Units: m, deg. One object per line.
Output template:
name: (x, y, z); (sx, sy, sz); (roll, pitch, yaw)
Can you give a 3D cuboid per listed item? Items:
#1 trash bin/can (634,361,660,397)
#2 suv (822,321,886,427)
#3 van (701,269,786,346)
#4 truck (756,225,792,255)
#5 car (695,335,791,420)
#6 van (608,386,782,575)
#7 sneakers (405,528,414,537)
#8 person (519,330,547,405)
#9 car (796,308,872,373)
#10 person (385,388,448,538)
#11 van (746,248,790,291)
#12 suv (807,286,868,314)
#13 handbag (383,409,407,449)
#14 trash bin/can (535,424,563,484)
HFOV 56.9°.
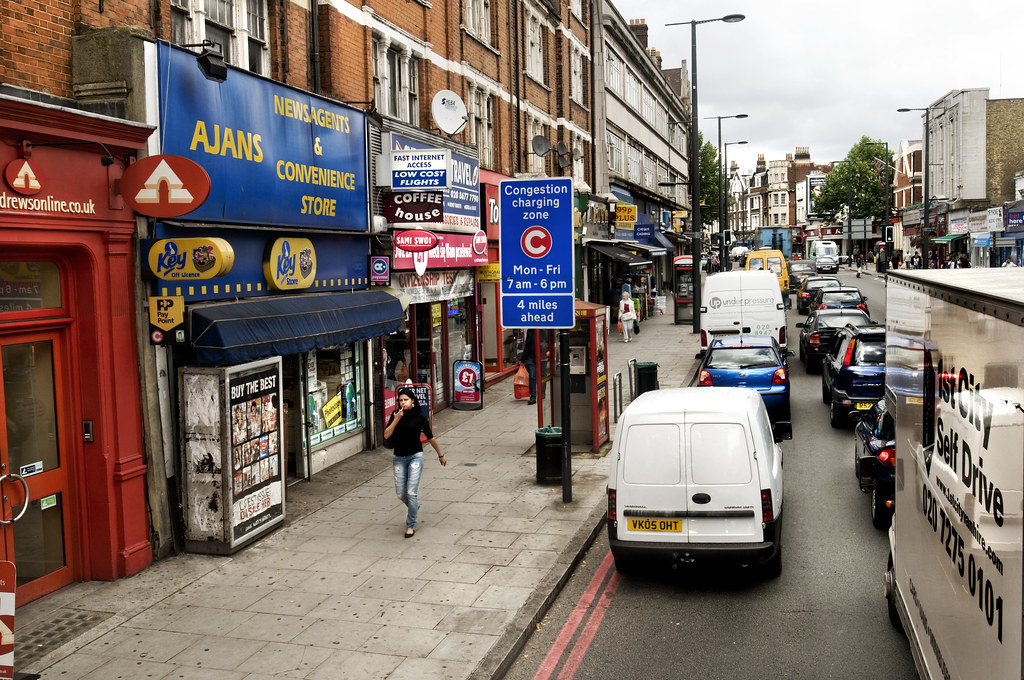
trash bin/can: (3.181, 0.945, 22.702); (0.705, 1.070, 0.741); (0, -1, -2)
suv: (7.193, 0.517, 20.570); (1.360, 1.688, 3.135); (2, 13, 8)
van: (6.364, -1.043, 26.294); (1.476, 1.451, 2.548); (-2, 8, 10)
truck: (23.894, -9.194, 86.359); (3.074, 3.251, 5.393); (0, 2, 9)
car: (5.117, 0.967, 21.446); (2.465, 2.320, 5.286); (-2, -2, 14)
van: (3.009, 1.695, 14.465); (2.567, 2.270, 4.760); (-2, 7, 14)
sneakers: (-1.552, 2.894, 14.333); (0.141, 0.116, 0.152); (-2, 9, -9)
person: (0.410, 0.625, 24.237); (0.336, 1.823, 0.923); (-2, 8, -5)
car: (9.118, -0.105, 27.573); (1.346, 1.184, 2.759); (-1, 10, 8)
person: (-1.548, 1.819, 14.510); (0.694, 2.181, 0.627); (-7, 10, -36)
van: (15.341, -3.667, 57.692); (2.758, 3.100, 4.924); (-2, -3, 12)
suv: (11.909, -1.517, 34.879); (1.489, 1.245, 2.447); (0, -2, 19)
handbag: (-1.732, 1.343, 14.385); (0.177, 0.546, 0.383); (1, -12, 29)
trash bin/can: (0.714, 2.054, 16.882); (0.585, 0.960, 0.626); (0, 3, 4)
